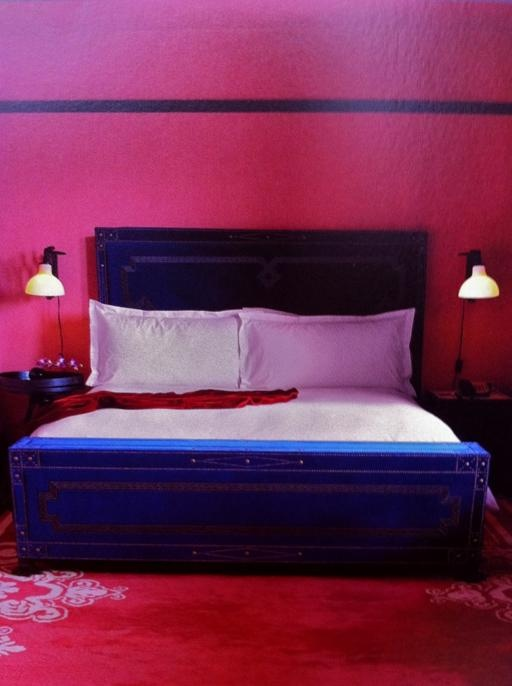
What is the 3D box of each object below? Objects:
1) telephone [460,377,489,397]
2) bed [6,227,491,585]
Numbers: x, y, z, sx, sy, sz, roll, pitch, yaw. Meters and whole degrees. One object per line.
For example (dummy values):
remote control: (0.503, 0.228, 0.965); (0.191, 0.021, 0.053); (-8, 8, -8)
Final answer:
telephone: (1.153, 0.230, 3.436); (0.115, 0.066, 0.097); (0, 6, 0)
bed: (0.008, 0.376, 3.284); (1.842, 1.263, 1.695); (0, 9, 2)
